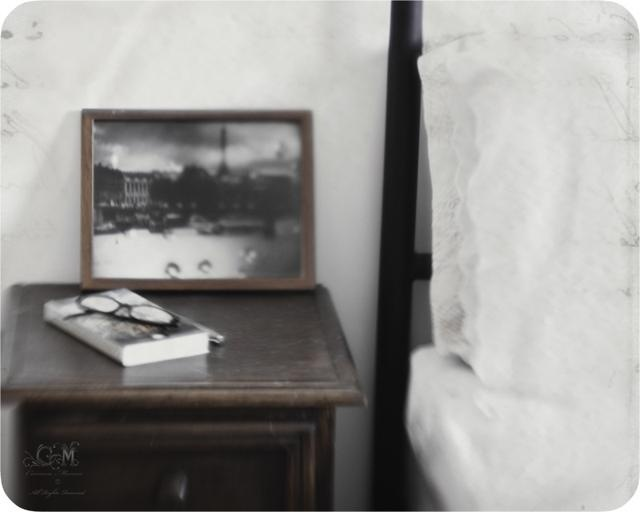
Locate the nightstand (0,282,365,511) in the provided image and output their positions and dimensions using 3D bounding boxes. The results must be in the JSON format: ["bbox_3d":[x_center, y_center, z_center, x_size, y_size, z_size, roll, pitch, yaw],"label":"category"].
[{"bbox_3d":[-0.137,0.070,0.717,0.304,0.271,0.212,0,7,-6],"label":"nightstand"}]

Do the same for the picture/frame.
[{"bbox_3d":[-0.154,-0.070,0.844,0.223,0.179,0.016,0,0,-5],"label":"picture/frame"}]

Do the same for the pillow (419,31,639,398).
[{"bbox_3d":[0.194,-0.034,0.639,0.222,0.292,0.073,2,5,23],"label":"pillow"}]
